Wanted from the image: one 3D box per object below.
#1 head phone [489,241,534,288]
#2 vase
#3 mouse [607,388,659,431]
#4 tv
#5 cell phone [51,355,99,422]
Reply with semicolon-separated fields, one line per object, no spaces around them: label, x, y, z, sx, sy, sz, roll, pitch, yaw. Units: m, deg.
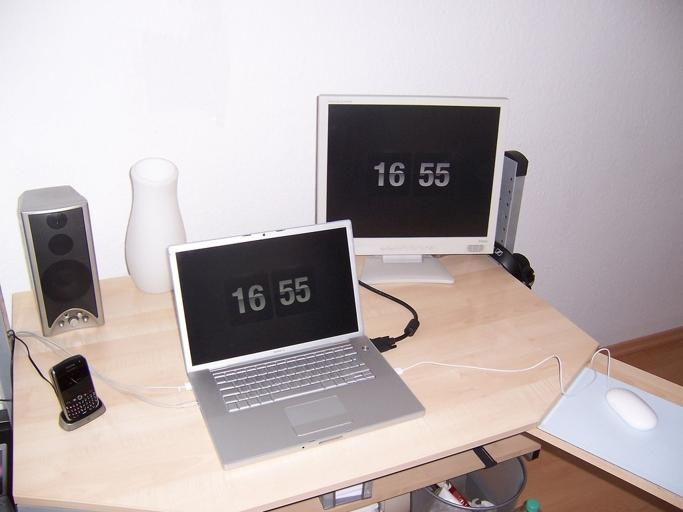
head phone;0.539;0.028;1.695;0.143;0.138;0.105;23;47;-6
vase;-0.496;-0.070;1.380;0.161;0.341;0.170;16;32;8
mouse;0.679;0.353;1.209;0.066;0.026;0.094;-14;36;-11
tv;0.188;-0.201;1.484;0.504;0.536;0.201;1;29;-3
cell phone;-0.577;0.291;1.124;0.093;0.136;0.043;-27;22;-38
